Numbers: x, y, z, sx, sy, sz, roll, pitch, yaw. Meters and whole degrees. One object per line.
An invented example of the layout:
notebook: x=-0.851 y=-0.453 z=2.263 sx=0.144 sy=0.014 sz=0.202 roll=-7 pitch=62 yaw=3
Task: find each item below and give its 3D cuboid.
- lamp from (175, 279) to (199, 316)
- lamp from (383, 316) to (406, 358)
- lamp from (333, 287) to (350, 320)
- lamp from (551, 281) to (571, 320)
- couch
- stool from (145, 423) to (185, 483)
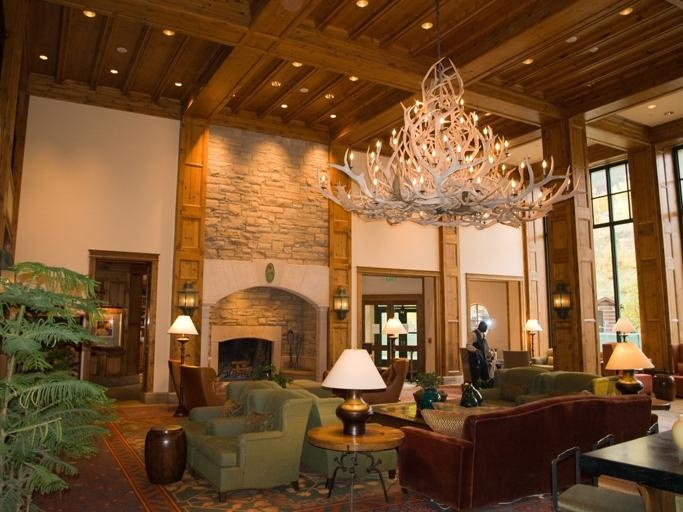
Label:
lamp: x=-3.059 y=0.858 z=10.096 sx=0.383 sy=0.666 sz=0.408 roll=1 pitch=-2 yaw=10
lamp: x=1.167 y=1.889 z=11.352 sx=0.596 sy=0.955 sz=0.577 roll=5 pitch=-6 yaw=-43
lamp: x=-0.021 y=1.096 z=11.643 sx=0.398 sy=0.757 sz=0.381 roll=3 pitch=-8 yaw=-28
lamp: x=4.393 y=0.864 z=10.068 sx=0.345 sy=0.729 sz=0.189 roll=-3 pitch=-9 yaw=27
couch: x=1.441 y=2.015 z=5.629 sx=4.379 sy=1.082 sz=2.041 roll=3 pitch=-8 yaw=-17
stool: x=-1.940 y=2.185 z=5.642 sx=0.500 sy=0.520 sz=0.506 roll=2 pitch=-5 yaw=-31
